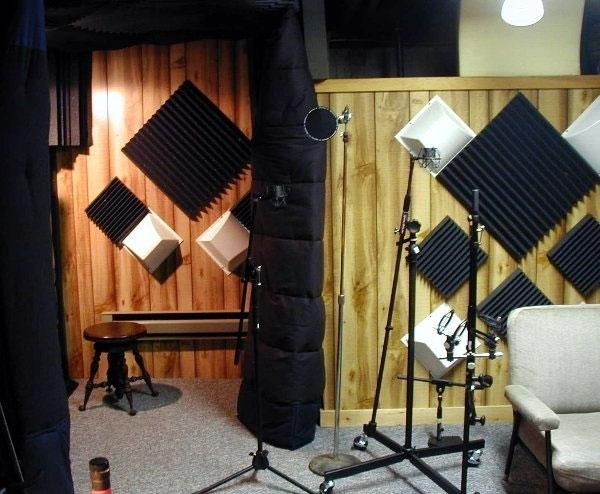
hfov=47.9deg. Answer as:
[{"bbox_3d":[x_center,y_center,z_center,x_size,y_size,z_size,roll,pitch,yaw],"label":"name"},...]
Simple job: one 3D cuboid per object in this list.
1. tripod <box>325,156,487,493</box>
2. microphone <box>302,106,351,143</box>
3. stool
[{"bbox_3d":[0.611,0.355,3.519,0.734,1.654,1.066,3,13,16],"label":"tripod"},{"bbox_3d":[0.119,-0.649,3.603,0.228,0.196,0.372,-2,13,-9],"label":"microphone"},{"bbox_3d":[-1.140,0.739,4.337,0.485,0.542,0.506,-1,8,-13],"label":"stool"}]
